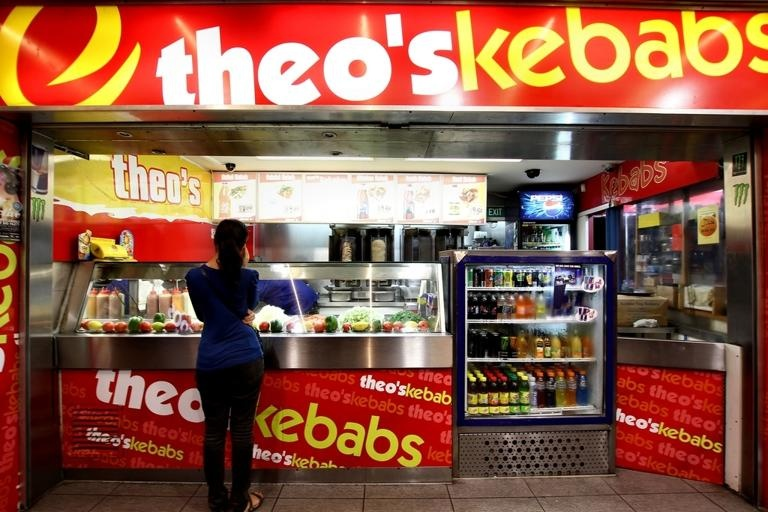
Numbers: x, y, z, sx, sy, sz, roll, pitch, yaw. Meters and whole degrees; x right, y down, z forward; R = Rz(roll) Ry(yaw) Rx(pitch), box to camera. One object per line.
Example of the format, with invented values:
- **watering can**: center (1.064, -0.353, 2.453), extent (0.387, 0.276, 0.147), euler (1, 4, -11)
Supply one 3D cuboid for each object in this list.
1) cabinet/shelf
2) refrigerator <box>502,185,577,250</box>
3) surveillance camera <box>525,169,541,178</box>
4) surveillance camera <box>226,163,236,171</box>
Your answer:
- **cabinet/shelf**: center (-1.152, 1.104, 6.065), extent (3.626, 1.797, 1.214), euler (0, -1, -2)
- **refrigerator**: center (2.434, -0.639, 9.953), extent (1.195, 1.490, 1.014), euler (0, -6, 0)
- **surveillance camera**: center (2.086, -1.165, 8.619), extent (0.145, 0.084, 0.126), euler (-1, 3, -2)
- **surveillance camera**: center (-2.061, -1.208, 8.215), extent (0.086, 0.081, 0.034), euler (-1, 7, 8)
